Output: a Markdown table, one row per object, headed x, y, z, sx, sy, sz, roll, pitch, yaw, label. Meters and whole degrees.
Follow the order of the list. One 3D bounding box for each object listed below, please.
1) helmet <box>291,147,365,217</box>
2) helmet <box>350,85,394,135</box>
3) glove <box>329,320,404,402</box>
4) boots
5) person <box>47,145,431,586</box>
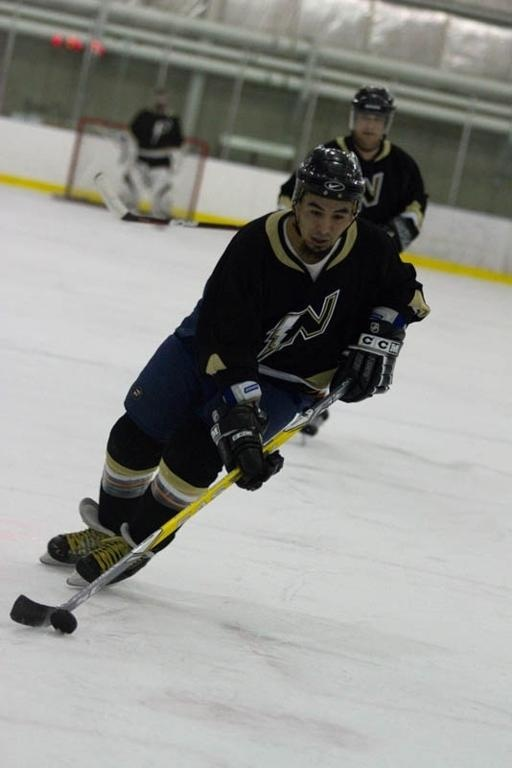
| x | y | z | sx | sy | sz | roll | pitch | yaw | label |
| --- | --- | --- | --- | --- | --- | --- | --- | --- | --- |
| 0.126 | -0.370 | 1.435 | 0.122 | 0.119 | 0.131 | 10 | 19 | -9 | helmet |
| 0.476 | -1.148 | 3.267 | 0.162 | 0.157 | 0.184 | 4 | -2 | 5 | helmet |
| 0.215 | -0.068 | 1.691 | 0.076 | 0.189 | 0.119 | 27 | -2 | 38 | glove |
| -0.320 | 0.333 | 1.622 | 0.224 | 0.147 | 0.071 | -16 | 67 | -46 | boots |
| -0.026 | 0.004 | 1.624 | 0.581 | 1.002 | 0.503 | 21 | 7 | -12 | person |
